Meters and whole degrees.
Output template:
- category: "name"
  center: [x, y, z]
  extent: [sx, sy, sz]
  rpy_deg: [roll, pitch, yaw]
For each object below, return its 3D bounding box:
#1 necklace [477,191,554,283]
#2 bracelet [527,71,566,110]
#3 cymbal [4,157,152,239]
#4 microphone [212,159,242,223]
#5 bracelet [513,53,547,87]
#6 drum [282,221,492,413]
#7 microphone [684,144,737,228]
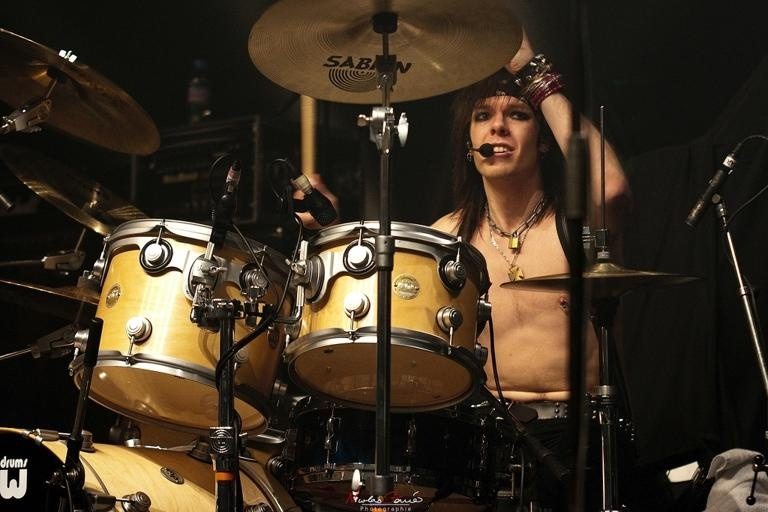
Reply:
- category: "necklace"
  center: [0.620, -0.085, 5.027]
  extent: [0.291, 0.402, 0.110]
  rpy_deg: [-8, -9, 22]
- category: "bracelet"
  center: [0.760, -0.790, 4.952]
  extent: [0.167, 0.121, 0.159]
  rpy_deg: [-22, -17, -11]
- category: "cymbal"
  center: [-1.331, -0.333, 4.415]
  extent: [0.449, 0.105, 0.433]
  rpy_deg: [34, -2, -28]
- category: "microphone"
  center: [-0.612, -0.236, 3.935]
  extent: [0.096, 0.263, 0.073]
  rpy_deg: [19, 14, 2]
- category: "bracelet"
  center: [0.721, -0.907, 5.043]
  extent: [0.066, 0.166, 0.143]
  rpy_deg: [51, -31, -4]
- category: "drum"
  center: [-0.011, 0.267, 4.142]
  extent: [0.770, 0.463, 0.750]
  rpy_deg: [4, -31, 3]
- category: "microphone"
  center: [1.488, -0.301, 4.645]
  extent: [0.074, 0.443, 0.074]
  rpy_deg: [20, 20, -37]
